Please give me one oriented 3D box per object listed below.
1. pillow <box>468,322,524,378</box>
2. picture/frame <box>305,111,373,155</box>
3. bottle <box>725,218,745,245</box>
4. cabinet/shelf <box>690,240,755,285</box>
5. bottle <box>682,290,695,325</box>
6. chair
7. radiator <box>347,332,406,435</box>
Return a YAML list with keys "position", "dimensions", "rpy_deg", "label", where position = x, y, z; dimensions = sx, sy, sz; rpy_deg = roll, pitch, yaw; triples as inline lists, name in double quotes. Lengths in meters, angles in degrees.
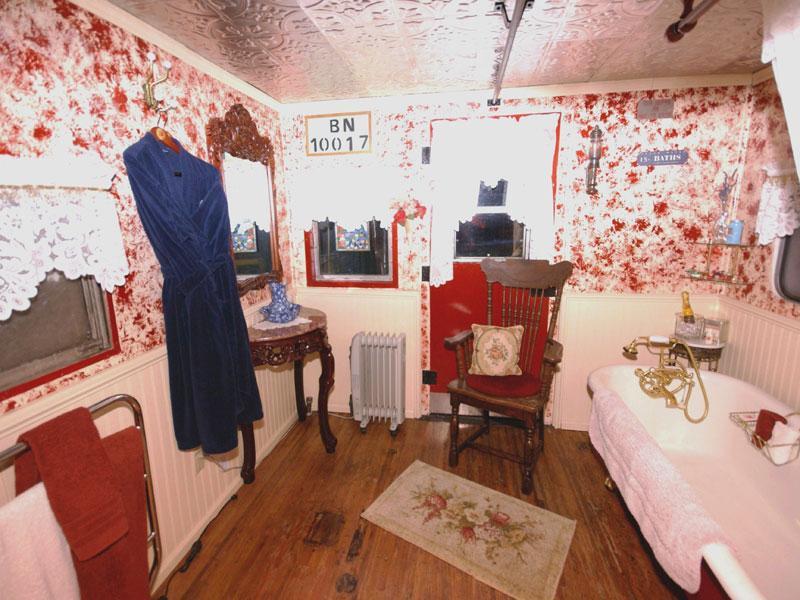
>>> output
- position: [0.704, 0.366, 3.953]
  dimensions: [0.384, 0.347, 0.208]
  rpy_deg: [0, 10, 7]
  label: "pillow"
- position: [-0.446, -1.324, 4.295]
  dimensions: [0.724, 0.449, 0.064]
  rpy_deg: [8, 19, 30]
  label: "picture/frame"
- position: [2.355, -0.479, 3.781]
  dimensions: [0.106, 0.166, 0.225]
  rpy_deg: [5, 11, 31]
  label: "bottle"
- position: [2.356, -0.261, 3.959]
  dimensions: [0.526, 0.296, 0.382]
  rpy_deg: [4, 2, 43]
  label: "cabinet/shelf"
- position: [2.118, 0.035, 3.962]
  dimensions: [0.096, 0.211, 0.339]
  rpy_deg: [4, 10, 28]
  label: "bottle"
- position: [0.799, 0.516, 3.930]
  dimensions: [0.786, 1.532, 0.662]
  rpy_deg: [10, 19, 33]
  label: "chair"
- position: [-0.179, 0.652, 4.334]
  dimensions: [0.434, 0.796, 0.251]
  rpy_deg: [-1, 10, -2]
  label: "radiator"
